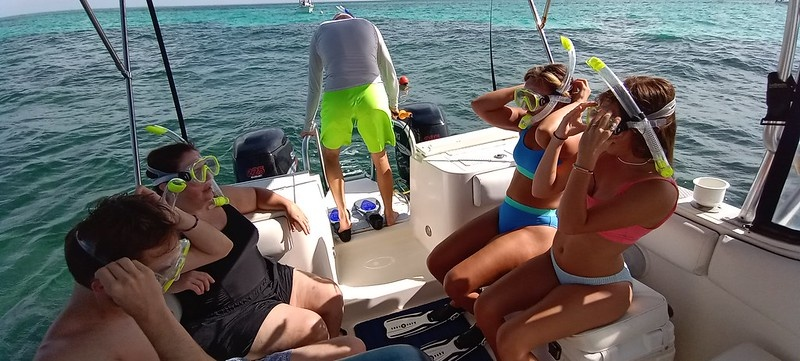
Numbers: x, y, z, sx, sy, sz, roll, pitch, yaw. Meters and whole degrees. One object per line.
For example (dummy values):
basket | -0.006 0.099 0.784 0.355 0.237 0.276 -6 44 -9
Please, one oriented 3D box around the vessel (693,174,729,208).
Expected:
vessel | 4.480 0.152 6.351 0.555 0.310 0.525 16 24 30

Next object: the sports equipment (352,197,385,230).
sports equipment | -0.513 0.558 7.485 0.542 0.231 0.647 -16 50 -21

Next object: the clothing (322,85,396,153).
clothing | -0.708 -1.073 7.372 1.511 0.994 0.496 -4 34 2

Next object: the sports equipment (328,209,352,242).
sports equipment | -1.023 0.776 7.292 0.338 0.583 0.110 -15 -13 -19

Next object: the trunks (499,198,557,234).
trunks | 1.908 0.569 6.508 0.744 0.414 0.665 17 -17 -16
